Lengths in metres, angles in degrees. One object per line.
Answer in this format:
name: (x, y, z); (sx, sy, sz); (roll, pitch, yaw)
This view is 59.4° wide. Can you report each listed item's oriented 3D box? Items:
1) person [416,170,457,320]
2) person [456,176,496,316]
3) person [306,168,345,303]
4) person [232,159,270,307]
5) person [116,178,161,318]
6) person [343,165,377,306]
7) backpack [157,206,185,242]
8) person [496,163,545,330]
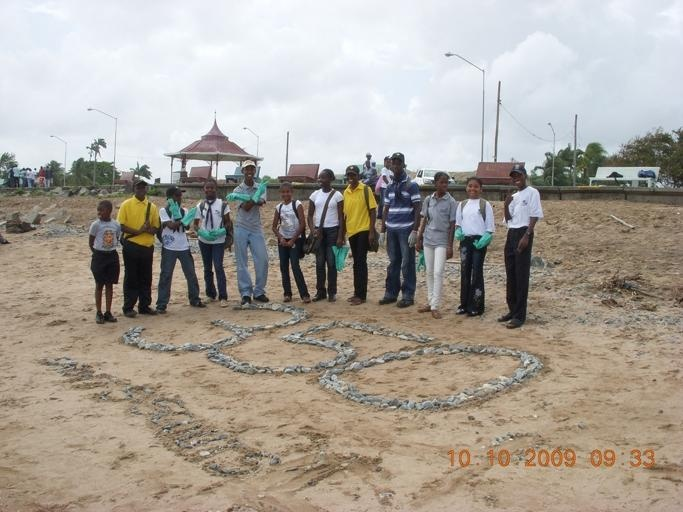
person: (1.421, -0.148, 8.848); (0.591, 2.179, 0.826); (-2, 15, 10)
person: (1.942, -0.005, 8.730); (0.550, 1.761, 0.511); (4, 17, 27)
person: (-0.218, -0.205, 9.798); (0.606, 1.916, 0.547); (-4, 15, 0)
person: (-1.494, -0.340, 9.822); (0.661, 2.322, 0.624); (-11, 16, -24)
person: (-3.148, -0.115, 9.385); (0.766, 2.088, 0.382); (-11, 16, -25)
person: (0.322, -0.327, 9.594); (0.522, 2.284, 0.703); (-3, 15, 3)
backpack: (-2.683, -0.499, 9.478); (0.481, 0.655, 0.389); (16, 13, 42)
person: (2.423, -0.125, 8.193); (0.553, 2.192, 0.776); (0, 15, 14)
